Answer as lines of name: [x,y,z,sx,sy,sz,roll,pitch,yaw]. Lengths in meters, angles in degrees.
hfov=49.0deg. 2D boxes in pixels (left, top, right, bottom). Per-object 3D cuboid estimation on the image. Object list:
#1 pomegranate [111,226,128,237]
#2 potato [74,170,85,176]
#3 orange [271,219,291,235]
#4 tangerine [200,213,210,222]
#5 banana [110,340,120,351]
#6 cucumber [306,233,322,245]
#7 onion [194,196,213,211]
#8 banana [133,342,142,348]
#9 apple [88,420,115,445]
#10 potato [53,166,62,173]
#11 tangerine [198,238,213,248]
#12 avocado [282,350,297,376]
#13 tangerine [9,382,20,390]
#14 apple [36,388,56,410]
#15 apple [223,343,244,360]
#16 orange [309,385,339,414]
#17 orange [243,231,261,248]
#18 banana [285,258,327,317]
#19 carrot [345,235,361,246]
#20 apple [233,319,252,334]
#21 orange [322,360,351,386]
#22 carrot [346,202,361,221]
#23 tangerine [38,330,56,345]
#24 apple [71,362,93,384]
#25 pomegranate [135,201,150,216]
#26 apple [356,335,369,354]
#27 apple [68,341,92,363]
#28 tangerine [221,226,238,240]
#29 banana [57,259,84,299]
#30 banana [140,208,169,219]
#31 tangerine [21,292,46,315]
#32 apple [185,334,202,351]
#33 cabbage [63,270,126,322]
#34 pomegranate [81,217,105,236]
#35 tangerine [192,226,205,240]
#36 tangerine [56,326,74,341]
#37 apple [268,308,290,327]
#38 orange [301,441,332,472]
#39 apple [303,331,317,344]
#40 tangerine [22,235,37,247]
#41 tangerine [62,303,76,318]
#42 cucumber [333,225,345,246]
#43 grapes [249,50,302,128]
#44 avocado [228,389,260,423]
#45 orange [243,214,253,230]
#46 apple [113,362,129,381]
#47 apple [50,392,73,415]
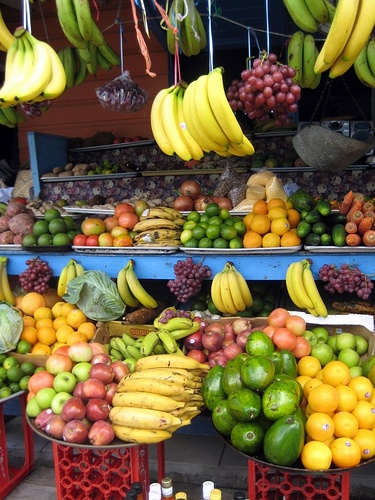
pomegranate: [-0.465,-0.130,2.766,0.082,0.071,0.097,14,33,42]
potato: [-1.161,-0.827,4.435,0.092,0.048,0.063,-8,52,7]
orange: [0.544,-0.137,2.462,0.087,0.079,0.109,-4,-2,-23]
tangerine: [0.111,-0.204,2.656,0.055,0.051,0.061,4,28,-6]
banana: [-0.410,0.523,2.295,0.042,0.071,0.026,-33,-22,32]
cucumber: [0.698,-0.057,2.295,0.052,0.045,0.083,-9,-3,-16]
onion: [0.108,-0.352,3.116,0.110,0.067,0.128,-11,0,-5]
banana: [-0.254,0.484,2.101,0.033,0.016,0.024,2,-2,-3]
apple: [-0.301,0.644,1.441,0.080,0.076,0.080,22,45,13]
potato: [-1.419,-0.866,4.504,0.074,0.066,0.041,-1,-24,30]
tangerine: [0.102,-0.043,2.427,0.060,0.061,0.056,1,2,4]
avocado: [0.403,0.441,1.630,0.063,0.094,0.056,-18,-1,14]
tangerine: [-0.916,0.729,2.190,0.045,0.033,0.038,-8,17,-16]
apple: [-0.574,0.604,1.670,0.071,0.075,0.071,9,-5,32]
apple: [0.206,0.451,1.823,0.058,0.055,0.066,-34,40,-5]
orange: [0.459,0.508,1.392,0.079,0.089,0.071,-5,17,-6]
orange: [0.379,-0.058,2.414,0.095,0.092,0.092,6,-32,8]
banana: [0.649,0.214,2.329,0.169,0.332,0.138,-21,-19,23]
carrot: [0.895,-0.055,2.222,0.079,0.052,0.058,2,-26,-24]
apple: [0.287,0.391,2.178,0.084,0.089,0.079,-7,8,-3]
orange: [0.553,0.464,1.536,0.090,0.094,0.086,-4,15,-5]
carrot: [0.926,-0.215,2.303,0.041,0.120,0.039,35,5,2]
tangerine: [-0.816,0.500,2.394,0.092,0.102,0.096,-8,-9,7]
apple: [-0.444,0.521,1.781,0.079,0.073,0.088,15,42,6]
pomegranate: [-0.324,-0.295,2.940,0.106,0.110,0.100,6,-1,21]
apple: [0.837,0.463,1.981,0.058,0.085,0.076,4,18,22]
apple: [-0.490,0.467,1.907,0.106,0.092,0.095,1,-11,-7]
tangerine: [0.248,-0.101,2.466,0.095,0.064,0.069,-1,-31,-5]
banana: [-0.743,0.195,2.622,0.159,0.078,0.252,0,49,-1]
banana: [-0.210,-0.237,2.727,0.190,0.072,0.112,-4,16,-4]
tangerine: [-0.986,0.337,2.615,0.144,0.152,0.145,-14,-10,38]
apple: [0.032,0.466,2.071,0.083,0.072,0.078,-10,-14,20]
cabbage: [-0.607,0.197,2.494,0.324,0.119,0.356,-30,19,-15]
pomegranate: [-0.644,-0.163,2.835,0.155,0.107,0.171,12,22,42]
tangerine: [0.073,-0.099,2.506,0.067,0.080,0.079,-18,22,-40]
tangerine: [-0.714,0.480,2.379,0.094,0.096,0.084,1,-20,-3]
apple: [0.455,0.340,2.060,0.091,0.082,0.083,-3,49,11]
orange: [0.386,0.618,1.237,0.087,0.088,0.080,0,-2,14]
apple: [0.591,0.418,2.003,0.057,0.051,0.064,14,-3,3]
tangerine: [-1.044,-0.057,2.720,0.084,0.077,0.094,28,-13,-6]
tangerine: [-0.742,0.372,2.548,0.090,0.095,0.085,-2,1,2]
cucumber: [0.825,-0.081,2.247,0.064,0.115,0.062,36,-36,-22]
grapes: [0.379,-0.724,1.862,0.235,0.315,0.288,-1,17,7]
avocado: [0.182,0.491,1.302,0.106,0.078,0.086,-1,17,6]
orange: [0.384,-0.182,2.597,0.073,0.089,0.073,14,-17,13]
apple: [-0.294,0.537,1.812,0.070,0.062,0.067,8,-12,-2]
apple: [-0.489,0.613,1.646,0.075,0.070,0.073,-29,-39,28]
